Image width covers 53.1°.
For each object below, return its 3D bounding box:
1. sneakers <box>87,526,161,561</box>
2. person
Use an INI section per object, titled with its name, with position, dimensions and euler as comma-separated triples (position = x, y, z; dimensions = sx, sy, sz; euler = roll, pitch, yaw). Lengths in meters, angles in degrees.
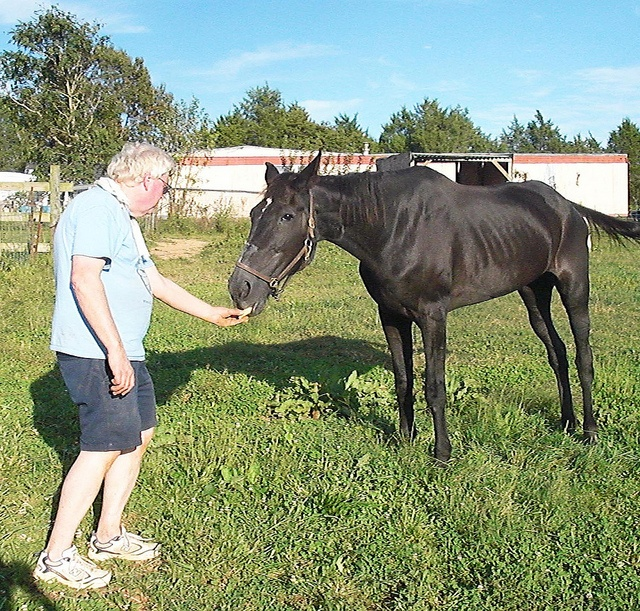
[sneakers]
position = -1.213, 1.500, 4.058
dimensions = 0.503, 0.149, 0.172
euler = 0, 1, -12
[person]
position = -1.281, 0.320, 3.913
dimensions = 0.701, 2.585, 1.095
euler = 1, 13, 8
